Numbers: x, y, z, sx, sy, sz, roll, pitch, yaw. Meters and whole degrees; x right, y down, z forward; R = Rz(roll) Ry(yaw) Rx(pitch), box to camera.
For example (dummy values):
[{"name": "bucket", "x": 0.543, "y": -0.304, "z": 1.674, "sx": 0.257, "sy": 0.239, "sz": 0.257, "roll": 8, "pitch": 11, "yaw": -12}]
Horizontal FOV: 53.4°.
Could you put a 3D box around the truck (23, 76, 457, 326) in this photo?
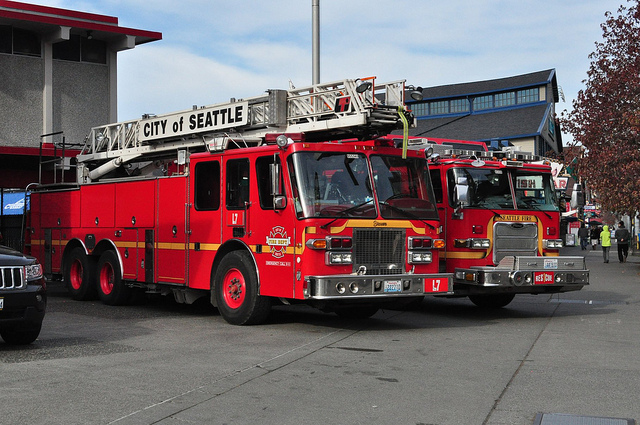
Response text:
[{"name": "truck", "x": -2.992, "y": -0.071, "z": 16.454, "sx": 12.796, "sy": 4.759, "sz": 4.595, "roll": -3, "pitch": -4, "yaw": 44}]

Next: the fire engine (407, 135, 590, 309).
[{"name": "fire engine", "x": 3.330, "y": 0.469, "z": 16.989, "sx": 2.843, "sy": 3.776, "sz": 7.997, "roll": -2, "pitch": -4, "yaw": -20}]
